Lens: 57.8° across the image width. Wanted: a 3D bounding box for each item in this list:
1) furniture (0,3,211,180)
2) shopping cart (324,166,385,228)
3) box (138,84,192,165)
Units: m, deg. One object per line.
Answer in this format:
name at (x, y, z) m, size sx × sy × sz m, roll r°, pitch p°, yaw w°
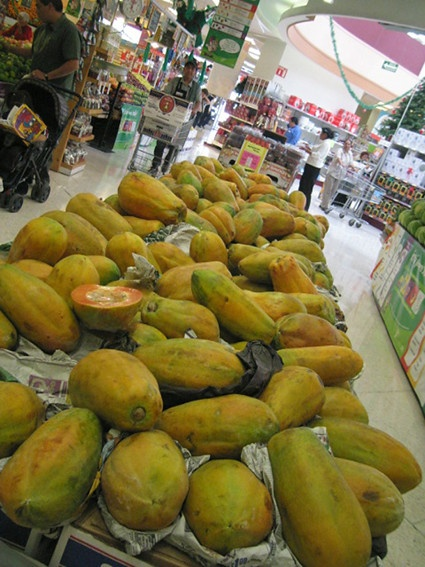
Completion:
furniture at (-1.840, -2.816, 6.013) m, size 2.118 × 1.496 × 3.456 m, roll 26°, pitch 42°, yaw -24°
shopping cart at (5.013, -3.355, 14.991) m, size 0.892 × 1.456 × 1.502 m, roll 30°, pitch 12°, yaw 2°
box at (-0.987, -2.942, 7.634) m, size 0.810 × 1.327 × 1.369 m, roll 21°, pitch 15°, yaw -2°
